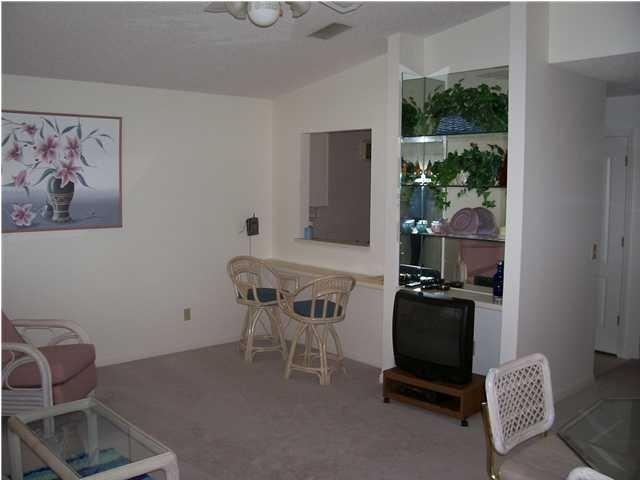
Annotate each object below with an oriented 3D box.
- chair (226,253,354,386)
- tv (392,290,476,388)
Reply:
[{"bbox_3d":[-0.306,0.861,5.255,0.431,0.758,1.059,-9,14,-39],"label":"chair"},{"bbox_3d":[0.925,0.816,3.987,0.419,0.729,0.740,-3,5,-43],"label":"tv"}]
